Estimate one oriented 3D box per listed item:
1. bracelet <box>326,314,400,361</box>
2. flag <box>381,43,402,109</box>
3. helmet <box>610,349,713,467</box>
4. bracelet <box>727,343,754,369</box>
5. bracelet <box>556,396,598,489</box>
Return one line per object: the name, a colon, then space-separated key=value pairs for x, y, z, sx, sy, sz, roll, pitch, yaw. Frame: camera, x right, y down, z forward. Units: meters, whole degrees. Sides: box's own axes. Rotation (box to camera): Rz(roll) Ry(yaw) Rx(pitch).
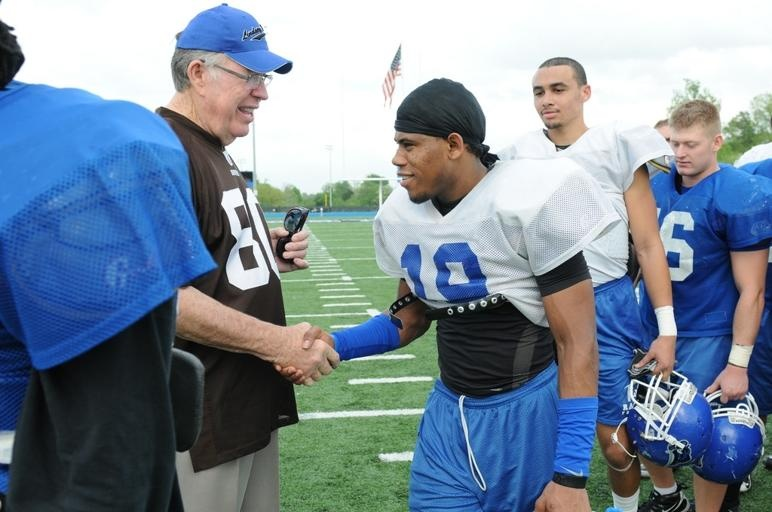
bracelet: x=-0.101 y=0.318 z=2.784 sx=0.264 sy=0.107 sz=0.216 roll=-8 pitch=19 yaw=-22
flag: x=0.267 y=-6.838 z=27.031 sx=0.919 sy=0.317 sz=3.174 roll=-4 pitch=-30 yaw=-13
helmet: x=1.263 y=0.732 z=3.117 sx=0.364 sy=0.404 sz=0.409 roll=-14 pitch=29 yaw=-27
bracelet: x=1.698 y=0.473 z=3.380 sx=0.117 sy=0.117 sz=0.115 roll=19 pitch=-6 yaw=2
bracelet: x=0.603 y=0.582 z=2.214 sx=0.124 sy=0.287 sz=0.234 roll=2 pitch=9 yaw=15
